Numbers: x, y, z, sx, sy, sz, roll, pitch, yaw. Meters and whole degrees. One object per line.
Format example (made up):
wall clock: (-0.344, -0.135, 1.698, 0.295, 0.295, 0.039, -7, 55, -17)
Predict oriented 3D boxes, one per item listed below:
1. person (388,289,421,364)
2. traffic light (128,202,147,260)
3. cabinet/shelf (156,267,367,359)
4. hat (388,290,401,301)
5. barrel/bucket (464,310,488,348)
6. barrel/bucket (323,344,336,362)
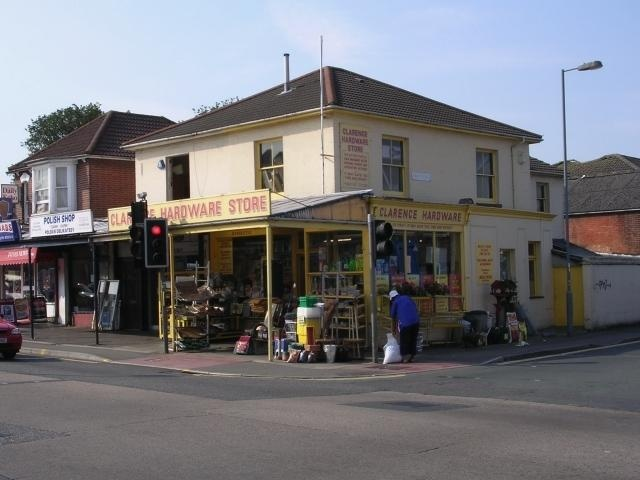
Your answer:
person: (2.325, 2.423, 20.692, 0.759, 1.958, 0.549, -1, -5, 6)
traffic light: (-5.347, -0.230, 21.757, 0.437, 1.755, 0.483, 1, -5, -13)
cabinet/shelf: (-1.488, 2.427, 24.091, 5.160, 2.435, 3.067, -3, -5, 23)
hat: (2.096, 1.627, 21.233, 0.284, 0.360, 0.411, -4, 11, 1)
barrel/bucket: (5.128, 2.910, 24.520, 0.858, 1.174, 2.360, -1, -6, 12)
barrel/bucket: (0.229, 3.220, 21.138, 0.434, 0.565, 0.378, -1, -3, 31)
